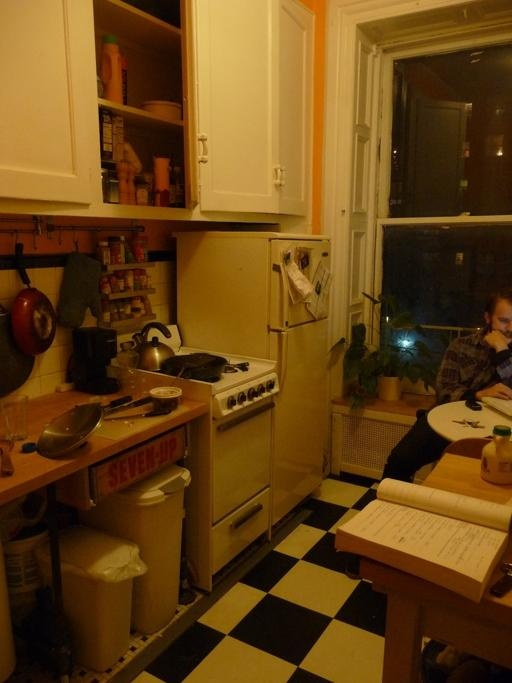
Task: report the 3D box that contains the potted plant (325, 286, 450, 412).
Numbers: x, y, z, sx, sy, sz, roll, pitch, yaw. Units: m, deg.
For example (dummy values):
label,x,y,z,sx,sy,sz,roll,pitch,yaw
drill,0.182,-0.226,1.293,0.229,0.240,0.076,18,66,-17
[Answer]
label,x,y,z,sx,sy,sz,roll,pitch,yaw
potted plant,0.773,0.015,3.137,0.644,0.463,0.655,8,9,42

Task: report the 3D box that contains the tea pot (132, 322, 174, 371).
label,x,y,z,sx,sy,sz,roll,pitch,yaw
tea pot,-0.431,0.015,2.288,0.200,0.182,0.161,7,4,22

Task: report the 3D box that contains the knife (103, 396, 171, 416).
label,x,y,z,sx,sy,sz,roll,pitch,yaw
knife,-0.410,0.224,1.891,0.164,0.046,0.085,-6,7,-16

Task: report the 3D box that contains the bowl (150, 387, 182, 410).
label,x,y,z,sx,sy,sz,roll,pitch,yaw
bowl,-0.313,0.194,1.941,0.081,0.046,0.082,1,15,0

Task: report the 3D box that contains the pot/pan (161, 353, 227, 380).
label,x,y,z,sx,sy,sz,roll,pitch,yaw
pot/pan,-0.232,0.101,2.197,0.281,0.067,0.295,-4,10,-29

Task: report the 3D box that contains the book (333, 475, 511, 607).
label,x,y,z,sx,sy,sz,roll,pitch,yaw
book,0.324,0.373,1.067,0.299,0.070,0.302,7,11,37

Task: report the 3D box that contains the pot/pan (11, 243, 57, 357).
label,x,y,z,sx,sy,sz,roll,pitch,yaw
pot/pan,-0.739,-0.138,1.886,0.047,0.325,0.196,-6,10,16
